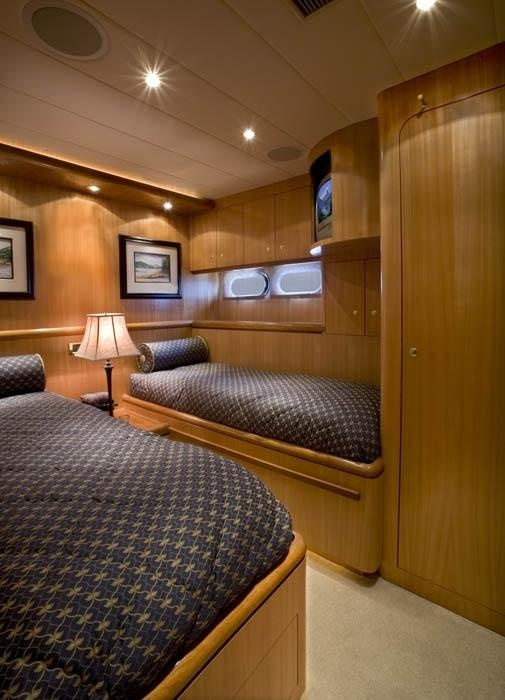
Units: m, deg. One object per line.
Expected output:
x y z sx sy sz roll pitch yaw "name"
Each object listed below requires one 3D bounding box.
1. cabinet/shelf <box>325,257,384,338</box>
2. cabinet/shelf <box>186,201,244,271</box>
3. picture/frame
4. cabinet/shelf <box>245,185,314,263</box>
0.625 -0.313 2.894 0.190 0.495 0.487 -1 2 -38 "cabinet/shelf"
-0.303 -0.982 4.097 0.196 0.461 0.500 -2 3 -44 "cabinet/shelf"
-0.857 -0.677 3.902 0.027 0.476 0.593 2 4 31 "picture/frame"
0.218 -0.944 3.577 0.237 0.582 0.608 -2 2 -42 "cabinet/shelf"
